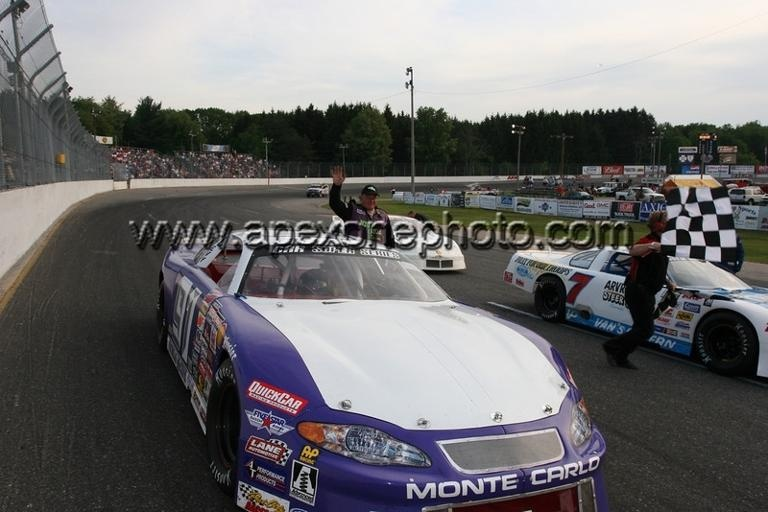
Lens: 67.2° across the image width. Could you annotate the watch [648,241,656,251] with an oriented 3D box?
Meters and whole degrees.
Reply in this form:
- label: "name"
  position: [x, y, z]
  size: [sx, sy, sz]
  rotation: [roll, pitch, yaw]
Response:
- label: "watch"
  position: [3.527, -0.142, 7.570]
  size: [0.074, 0.042, 0.103]
  rotation: [7, 38, 31]
